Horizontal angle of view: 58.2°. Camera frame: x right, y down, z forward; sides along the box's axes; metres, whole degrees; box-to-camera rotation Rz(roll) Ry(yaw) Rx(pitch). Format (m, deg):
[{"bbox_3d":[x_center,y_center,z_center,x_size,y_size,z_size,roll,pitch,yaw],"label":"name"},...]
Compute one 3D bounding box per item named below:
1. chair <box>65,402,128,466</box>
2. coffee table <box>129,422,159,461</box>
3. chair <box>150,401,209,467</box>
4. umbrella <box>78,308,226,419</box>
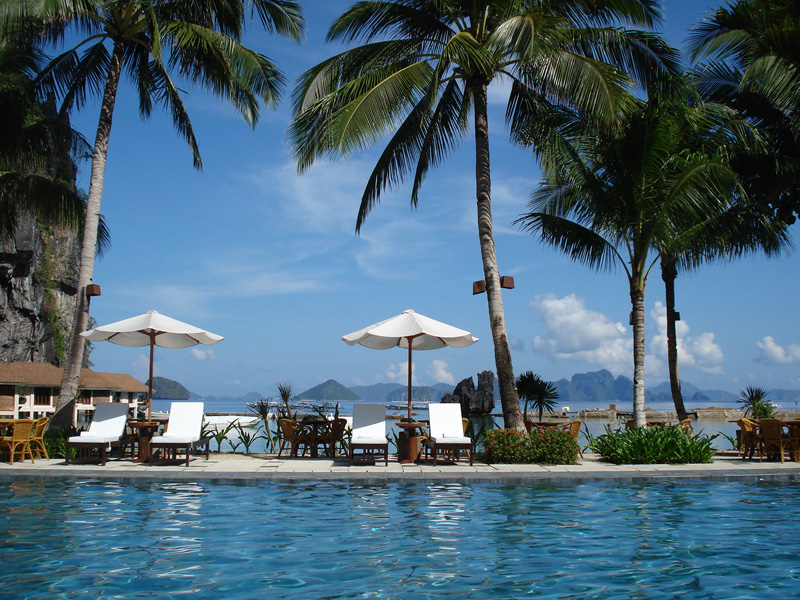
[{"bbox_3d":[-7.154,3.092,16.688,0.976,1.403,1.893,-1,-5,4],"label":"chair"},{"bbox_3d":[-6.207,3.347,17.284,0.697,0.912,0.713,5,-9,-17],"label":"coffee table"},{"bbox_3d":[-5.040,2.999,16.291,0.905,1.211,1.626,-3,-6,2],"label":"chair"},{"bbox_3d":[-6.232,1.535,17.943,2.723,2.654,2.836,5,13,-16],"label":"umbrella"}]
